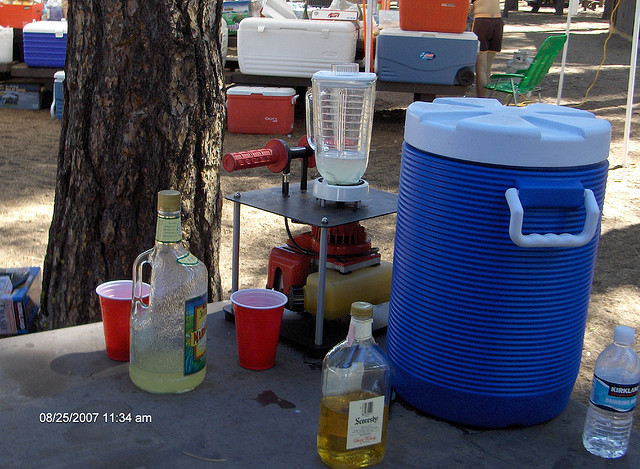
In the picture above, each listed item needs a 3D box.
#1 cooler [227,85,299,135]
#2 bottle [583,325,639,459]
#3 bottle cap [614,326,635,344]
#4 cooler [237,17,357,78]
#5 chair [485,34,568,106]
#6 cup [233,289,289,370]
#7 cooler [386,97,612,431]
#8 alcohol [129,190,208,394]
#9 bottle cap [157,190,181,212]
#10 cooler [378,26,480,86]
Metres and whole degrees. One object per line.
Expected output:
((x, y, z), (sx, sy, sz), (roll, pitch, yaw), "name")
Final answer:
((-0.626, -1.453, 7.942), (0.809, 0.501, 0.558), (1, 20, 4), "cooler")
((0.884, 0.457, 2.088), (0.136, 0.367, 0.208), (9, 20, 22), "bottle")
((0.903, 0.294, 2.066), (0.057, 0.036, 0.054), (1, 13, 10), "bottle cap")
((-0.263, -2.044, 7.705), (1.257, 0.623, 0.234), (3, 19, 7), "cooler")
((2.415, -1.826, 8.447), (0.767, 1.050, 0.878), (-15, 23, -38), "chair")
((-0.199, 0.317, 2.326), (0.207, 0.207, 0.211), (4, 17, -1), "cup")
((0.575, 0.088, 2.322), (0.666, 0.948, 0.794), (1, 9, -12), "cooler")
((-0.449, 0.157, 2.201), (0.239, 0.636, 0.313), (3, 7, 9), "alcohol")
((-0.448, -0.107, 2.094), (0.064, 0.055, 0.066), (15, 18, 40), "bottle cap")
((1.063, -1.718, 7.140), (1.138, 0.518, 0.585), (1, 24, 3), "cooler")
